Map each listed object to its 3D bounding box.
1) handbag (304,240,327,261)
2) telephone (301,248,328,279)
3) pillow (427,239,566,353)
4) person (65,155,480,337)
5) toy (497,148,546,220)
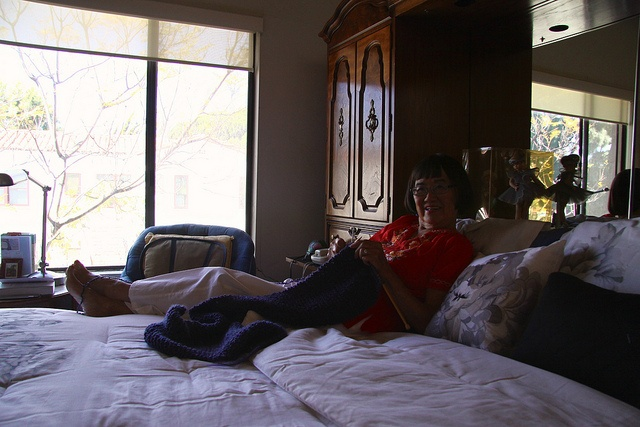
[{"bbox_3d":[-0.023,0.283,3.211,0.160,0.154,0.117,-11,18,-25],"label":"handbag"},{"bbox_3d":[-0.014,0.349,3.173,0.169,0.073,0.242,-17,-2,12],"label":"telephone"},{"bbox_3d":[0.697,0.317,1.761,0.132,0.432,0.440,32,-11,-19],"label":"pillow"},{"bbox_3d":[-0.223,0.153,2.354,2.166,0.991,0.843,1,1,0],"label":"person"},{"bbox_3d":[1.071,-0.168,2.371,0.256,0.387,0.205,-12,-36,30],"label":"toy"}]
